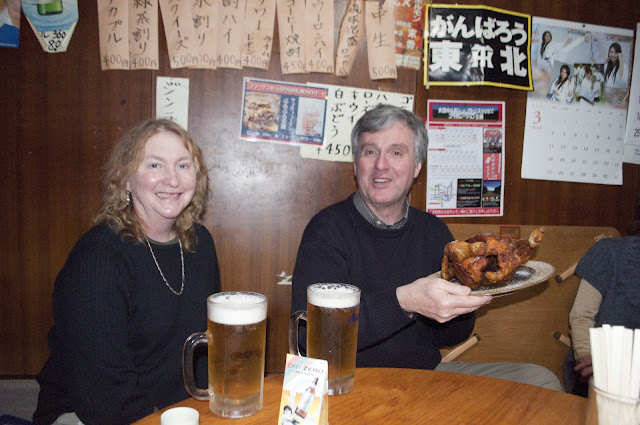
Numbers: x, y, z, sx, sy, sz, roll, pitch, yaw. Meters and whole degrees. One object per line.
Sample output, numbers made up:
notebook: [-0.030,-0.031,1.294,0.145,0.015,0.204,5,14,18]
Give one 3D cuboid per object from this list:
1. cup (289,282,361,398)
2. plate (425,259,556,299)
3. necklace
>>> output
cup: [0.055,0.571,2.209,0.233,0.496,0.128,-1,6,4]
plate: [1.023,0.338,2.597,0.335,0.048,0.337,-13,6,-17]
necklace: [-0.865,0.285,2.751,0.065,0.329,0.182,-17,-2,41]
